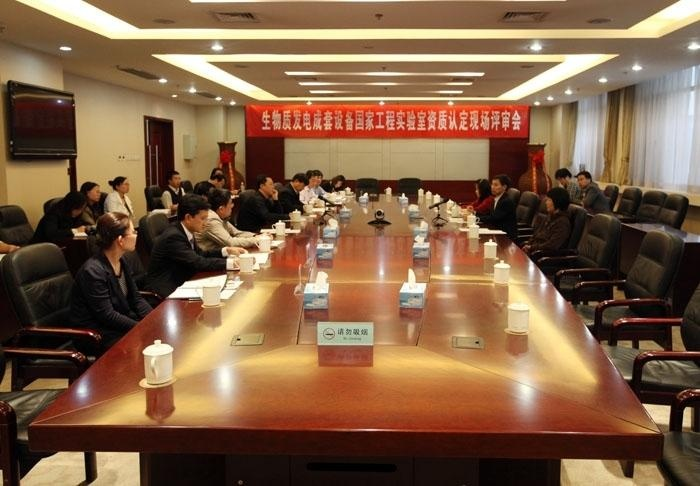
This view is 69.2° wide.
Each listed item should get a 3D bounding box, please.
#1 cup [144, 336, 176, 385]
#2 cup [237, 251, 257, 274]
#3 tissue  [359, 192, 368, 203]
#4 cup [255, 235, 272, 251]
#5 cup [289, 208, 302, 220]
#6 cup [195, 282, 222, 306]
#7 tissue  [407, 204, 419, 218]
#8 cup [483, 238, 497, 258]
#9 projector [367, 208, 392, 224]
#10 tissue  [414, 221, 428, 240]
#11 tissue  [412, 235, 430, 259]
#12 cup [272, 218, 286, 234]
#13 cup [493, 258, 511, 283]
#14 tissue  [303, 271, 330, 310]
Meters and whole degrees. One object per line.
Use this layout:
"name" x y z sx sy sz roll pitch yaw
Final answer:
"cup" -0.744 0.457 1.924 0.105 0.154 0.172 0 4 -7
"cup" -0.722 0.145 3.502 0.101 0.103 0.148 -2 -2 -5
"tissue " 0.216 -0.769 8.639 0.179 0.266 0.272 0 -5 3
"cup" -0.719 -0.003 4.240 0.150 0.145 0.112 -1 7 -3
"cup" -0.670 -0.347 5.974 0.131 0.142 0.168 0 -4 0
"cup" -0.771 0.276 2.722 0.125 0.111 0.096 -2 4 -19
"tissue " 0.799 -0.418 6.537 0.138 0.245 0.263 3 10 9
"cup" 1.053 0.046 3.861 0.130 0.173 0.128 0 -2 0
"projector" 0.347 -0.335 6.226 0.275 0.142 0.381 -1 2 5
"tissue " 0.640 -0.116 4.627 0.123 0.217 0.223 1 8 10
"tissue " 0.533 0.046 3.939 0.157 0.211 0.216 1 4 6
"cup" -0.698 -0.150 5.017 0.117 0.159 0.173 -2 2 -1
"cup" 0.924 0.181 3.174 0.132 0.161 0.135 1 -1 0
"tissue " -0.160 0.283 2.698 0.174 0.162 0.089 -1 -6 25
